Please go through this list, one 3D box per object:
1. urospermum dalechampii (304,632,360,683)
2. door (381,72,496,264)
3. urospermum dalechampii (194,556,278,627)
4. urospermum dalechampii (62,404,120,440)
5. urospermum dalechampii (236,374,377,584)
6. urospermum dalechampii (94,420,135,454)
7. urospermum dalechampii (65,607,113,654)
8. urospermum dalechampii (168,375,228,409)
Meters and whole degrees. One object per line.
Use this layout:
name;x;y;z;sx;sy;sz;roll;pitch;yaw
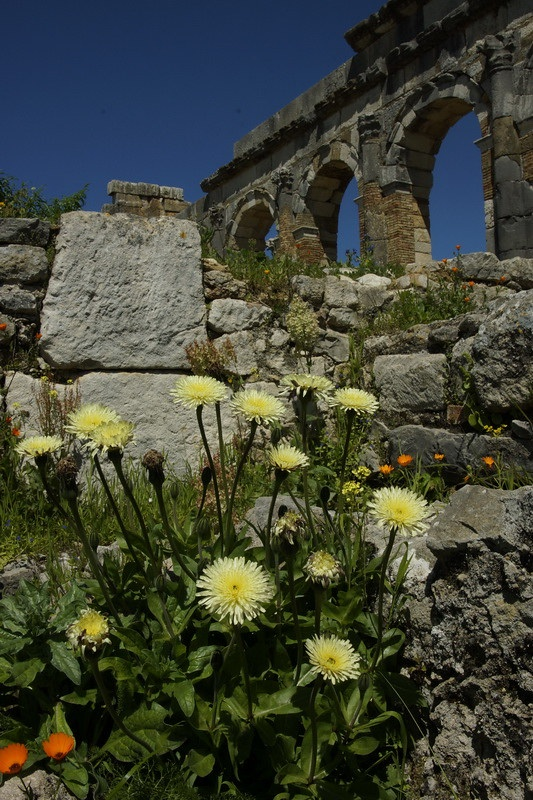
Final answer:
urospermum dalechampii;0.156;0.612;1.512;0.111;0.113;0.192;-2;1;9
door;2.806;-3.443;9.998;1.939;2.768;0.784;-8;-10;41
urospermum dalechampii;-0.074;0.435;1.522;0.183;0.089;0.191;-8;36;-14
urospermum dalechampii;-0.507;0.052;1.893;0.127;0.057;0.133;18;31;21
urospermum dalechampii;0.175;0.332;2.746;0.685;0.788;0.468;3;8;8
urospermum dalechampii;-0.398;0.091;1.702;0.079;0.041;0.083;-7;16;18
urospermum dalechampii;-0.417;0.540;1.517;0.092;0.089;0.090;-2;0;4
urospermum dalechampii;-0.213;-0.004;2.009;0.118;0.056;0.123;8;35;2
